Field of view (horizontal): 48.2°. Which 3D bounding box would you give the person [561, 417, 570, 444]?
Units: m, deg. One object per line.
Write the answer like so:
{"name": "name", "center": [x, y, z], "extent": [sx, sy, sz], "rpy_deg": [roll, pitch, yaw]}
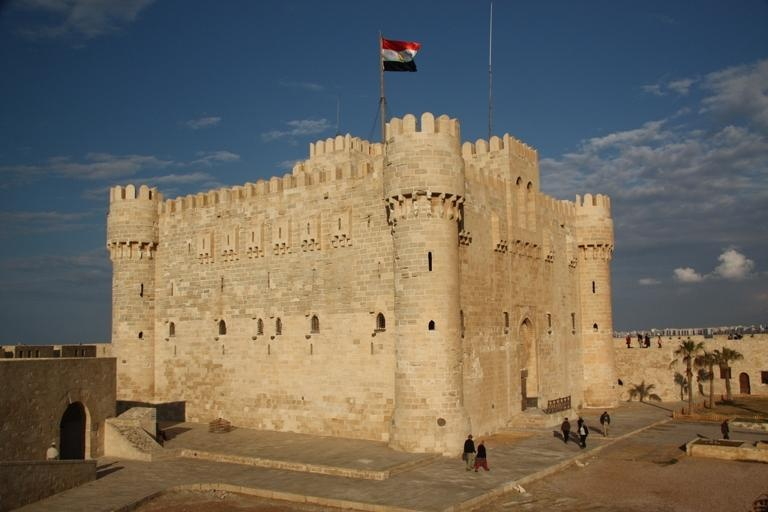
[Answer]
{"name": "person", "center": [11.272, 10.794, 52.959], "extent": [0.452, 1.358, 1.187], "rpy_deg": [0, 8, 8]}

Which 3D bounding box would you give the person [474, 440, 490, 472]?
{"name": "person", "center": [5.498, 11.110, 48.209], "extent": [0.812, 1.481, 2.081], "rpy_deg": [0, 8, 5]}

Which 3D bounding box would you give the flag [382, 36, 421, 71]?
{"name": "flag", "center": [1.026, -13.546, 56.860], "extent": [2.276, 2.173, 2.373], "rpy_deg": [-1, 8, -2]}
